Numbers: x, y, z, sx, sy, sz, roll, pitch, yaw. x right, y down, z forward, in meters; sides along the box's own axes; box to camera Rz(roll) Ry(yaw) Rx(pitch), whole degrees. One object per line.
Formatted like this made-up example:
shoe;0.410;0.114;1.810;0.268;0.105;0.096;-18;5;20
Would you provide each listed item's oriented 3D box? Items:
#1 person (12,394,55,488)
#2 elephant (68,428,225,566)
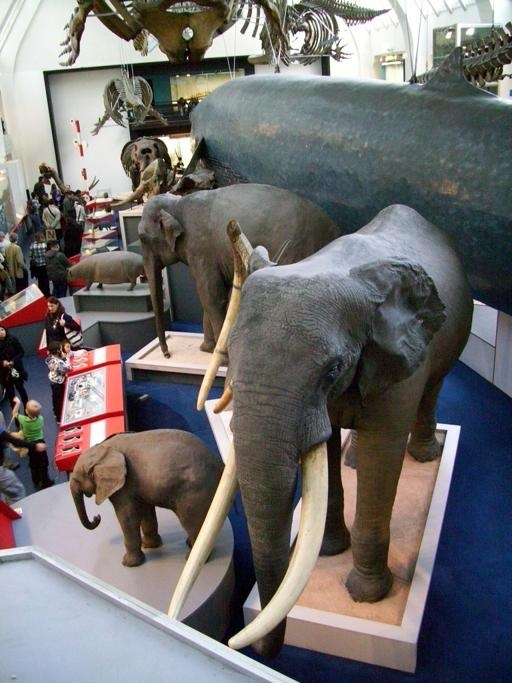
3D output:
person;-1.942;0.919;4.694;0.226;0.820;0.243;13;20;39
elephant;-0.467;0.830;3.277;1.081;0.844;0.520;3;10;4
